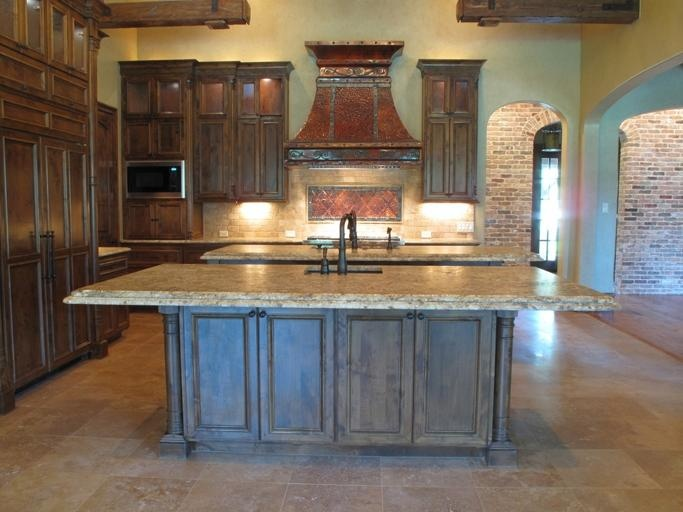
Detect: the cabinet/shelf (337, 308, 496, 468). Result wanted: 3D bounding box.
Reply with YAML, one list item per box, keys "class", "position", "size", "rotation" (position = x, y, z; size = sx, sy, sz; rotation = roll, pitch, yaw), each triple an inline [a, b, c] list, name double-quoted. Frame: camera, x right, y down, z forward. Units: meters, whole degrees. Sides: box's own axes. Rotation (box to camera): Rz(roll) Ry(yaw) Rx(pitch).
- class: "cabinet/shelf"
  position: [0.565, 0.946, 4.643]
  size: [1.161, 1.103, 0.494]
  rotation: [0, 6, 2]

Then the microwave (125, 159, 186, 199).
- class: "microwave"
  position: [-2.599, -1.088, 8.573]
  size: [0.800, 0.516, 0.508]
  rotation: [1, 1, -1]

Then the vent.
- class: "vent"
  position: [0.161, -2.055, 8.274]
  size: [1.769, 1.550, 0.965]
  rotation: [0, 10, 3]

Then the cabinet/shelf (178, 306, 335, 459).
- class: "cabinet/shelf"
  position: [-0.655, 0.909, 4.683]
  size: [1.170, 1.039, 0.459]
  rotation: [0, 1, 0]
